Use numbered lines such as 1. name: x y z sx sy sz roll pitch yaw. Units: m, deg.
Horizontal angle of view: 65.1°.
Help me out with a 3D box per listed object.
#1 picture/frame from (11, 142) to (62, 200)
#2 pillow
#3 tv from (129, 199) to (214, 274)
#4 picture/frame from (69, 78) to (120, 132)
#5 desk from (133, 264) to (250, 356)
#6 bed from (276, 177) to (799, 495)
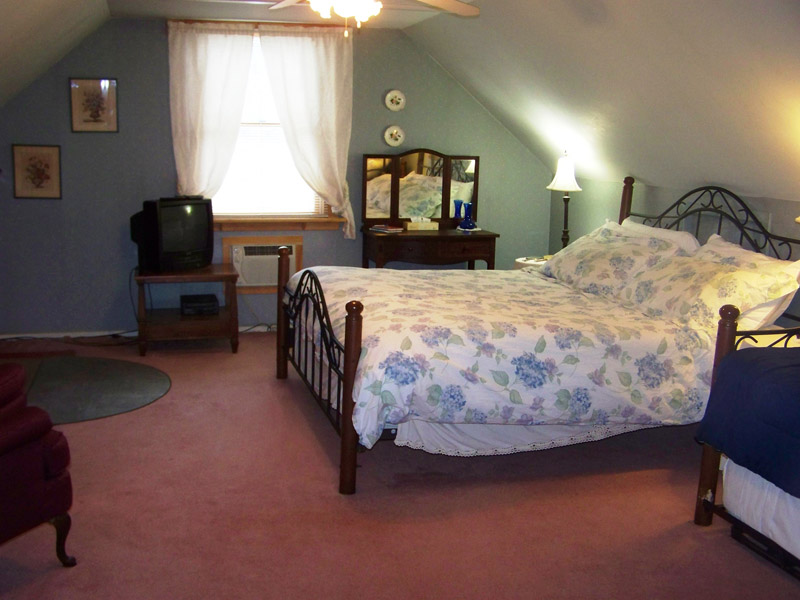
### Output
1. picture/frame: -3.071 -1.101 5.277 0.449 0.584 0.037 -1 7 -20
2. pillow: 1.724 -0.177 4.165 0.719 0.542 1.508 -5 13 -26
3. tv: -1.860 -0.595 5.352 0.592 0.699 0.651 -6 13 -39
4. picture/frame: -2.600 -1.667 5.303 0.429 0.521 0.034 -1 9 -19
5. desk: -1.831 0.089 5.464 0.932 0.819 0.720 -2 7 -17
6. bed: 0.821 0.017 4.119 2.577 1.701 2.063 0 13 -9
